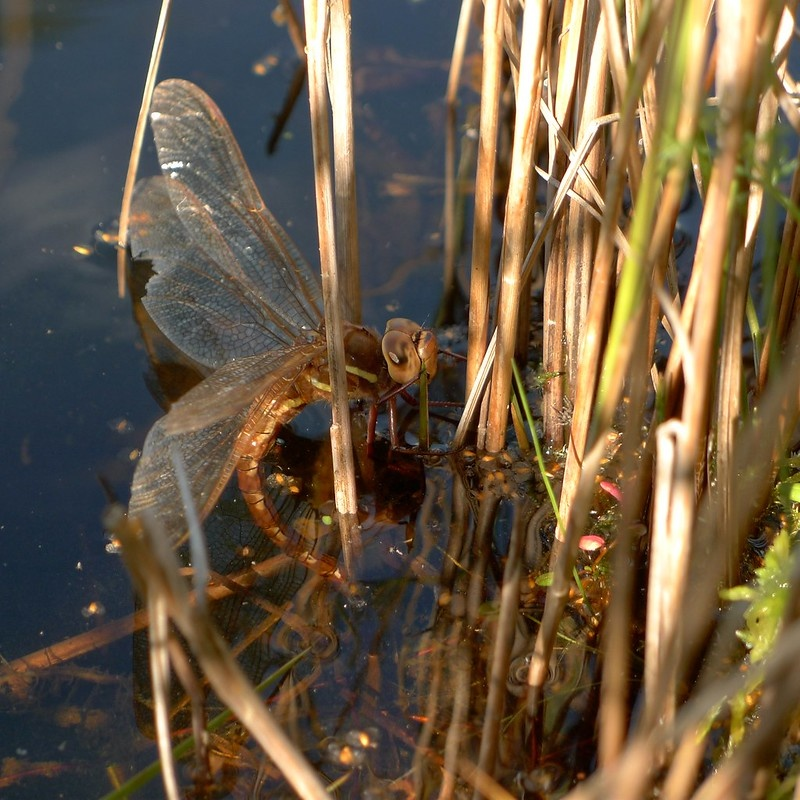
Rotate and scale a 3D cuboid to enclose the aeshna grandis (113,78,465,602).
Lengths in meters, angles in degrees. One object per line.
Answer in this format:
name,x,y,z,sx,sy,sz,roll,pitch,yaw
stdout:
aeshna grandis,-0.436,-0.169,2.230,0.705,0.572,1.037,-34,49,-31
